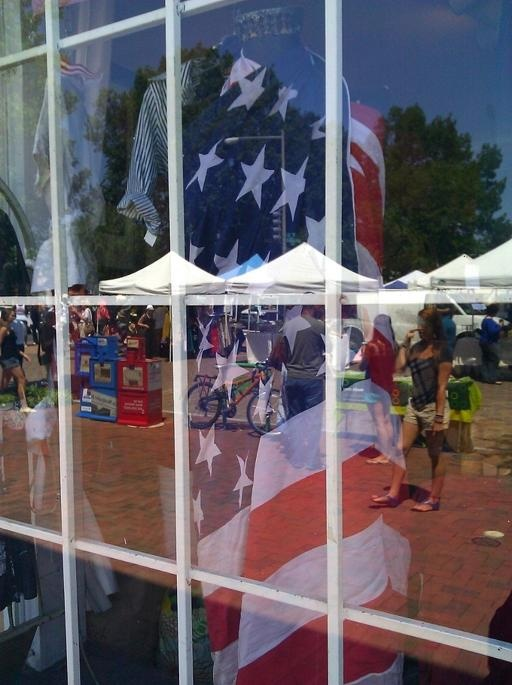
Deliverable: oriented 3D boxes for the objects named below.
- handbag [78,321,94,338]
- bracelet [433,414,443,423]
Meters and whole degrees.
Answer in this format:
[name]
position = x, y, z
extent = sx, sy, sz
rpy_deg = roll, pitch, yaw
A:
[handbag]
position = -0.658, -0.055, 2.875
extent = 0.044, 0.060, 0.026
rpy_deg = -5, 24, -32
[bracelet]
position = 0.537, 0.225, 2.197
extent = 0.019, 0.021, 0.025
rpy_deg = 11, 16, 23
